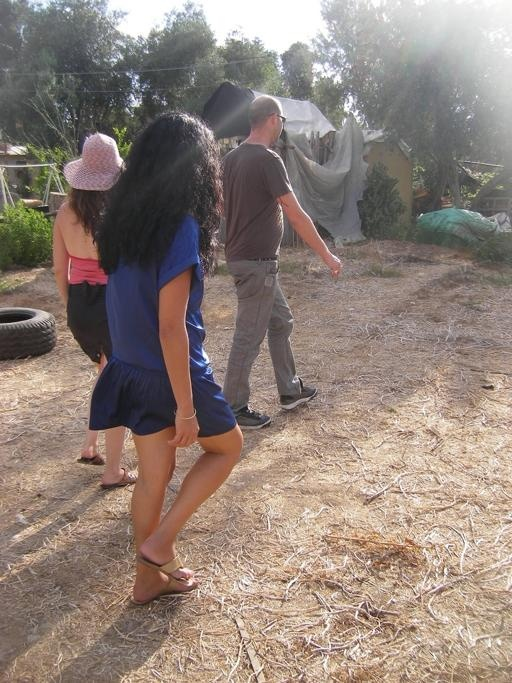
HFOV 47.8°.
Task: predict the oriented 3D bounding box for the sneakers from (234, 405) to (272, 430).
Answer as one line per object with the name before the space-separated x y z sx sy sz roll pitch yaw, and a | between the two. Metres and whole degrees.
sneakers | -0.022 0.473 3.660 0.282 0.135 0.098 0 36 -11

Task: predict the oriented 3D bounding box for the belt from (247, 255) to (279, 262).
belt | 0.060 -0.502 3.441 0.071 0.044 0.227 15 16 43

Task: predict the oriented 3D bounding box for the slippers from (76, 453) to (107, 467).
slippers | -0.920 0.665 3.240 0.168 0.060 0.057 2 15 -1

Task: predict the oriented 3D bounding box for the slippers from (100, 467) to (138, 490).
slippers | -0.691 0.715 2.978 0.097 0.077 0.217 10 11 37

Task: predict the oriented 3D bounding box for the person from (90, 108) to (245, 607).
person | -0.300 0.111 1.967 0.442 1.705 0.357 13 16 39

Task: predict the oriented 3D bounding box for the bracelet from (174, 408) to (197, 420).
bracelet | -0.216 0.223 1.781 0.058 0.043 0.034 1 12 -10

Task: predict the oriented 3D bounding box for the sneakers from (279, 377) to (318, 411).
sneakers | 0.305 0.353 4.025 0.330 0.224 0.127 -26 35 -38
